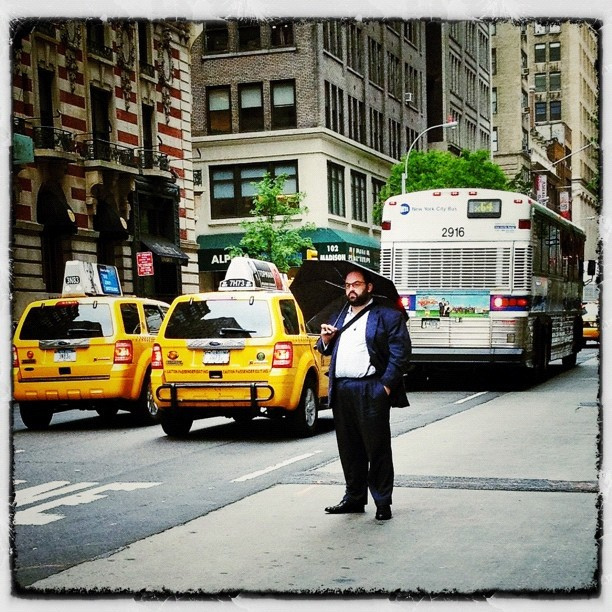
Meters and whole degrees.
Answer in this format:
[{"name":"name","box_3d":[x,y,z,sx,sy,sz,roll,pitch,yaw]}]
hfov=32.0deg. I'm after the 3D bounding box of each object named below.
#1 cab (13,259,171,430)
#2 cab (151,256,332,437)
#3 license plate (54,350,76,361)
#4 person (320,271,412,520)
[{"name":"cab","box_3d":[-2.820,0.606,16.417,2.088,2.287,4.007,-2,-3,9]},{"name":"cab","box_3d":[-0.664,0.560,14.614,1.972,2.288,4.274,0,-3,9]},{"name":"license plate","box_3d":[-3.264,0.695,14.490,0.289,0.145,0.062,-2,1,-9]},{"name":"person","box_3d":[0.460,0.679,8.129,0.676,1.630,0.350,-2,1,14]}]
